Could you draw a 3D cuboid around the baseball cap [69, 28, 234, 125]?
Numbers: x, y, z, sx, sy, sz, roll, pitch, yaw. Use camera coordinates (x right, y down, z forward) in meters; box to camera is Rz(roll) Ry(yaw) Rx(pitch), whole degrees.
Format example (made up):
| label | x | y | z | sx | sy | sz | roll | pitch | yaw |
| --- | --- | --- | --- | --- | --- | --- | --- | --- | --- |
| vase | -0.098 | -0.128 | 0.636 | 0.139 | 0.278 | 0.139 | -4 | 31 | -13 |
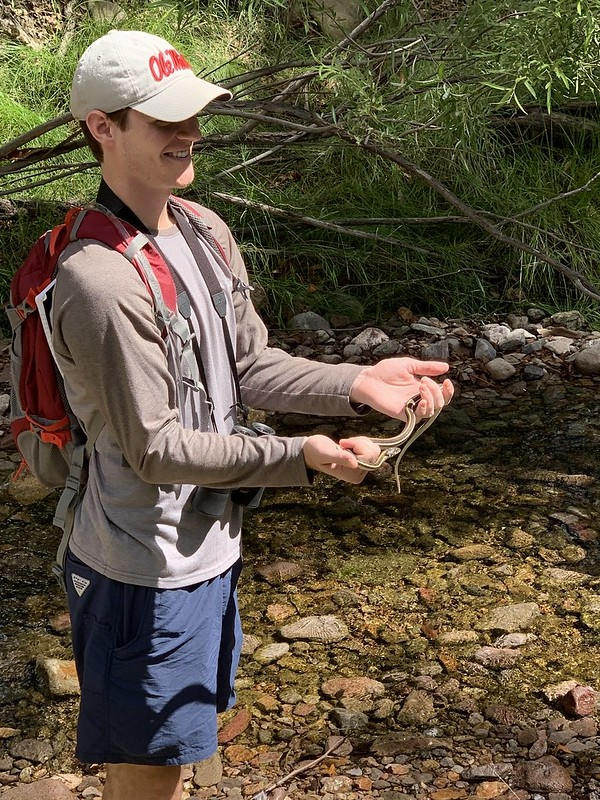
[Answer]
| label | x | y | z | sx | sy | sz | roll | pitch | yaw |
| --- | --- | --- | --- | --- | --- | --- | --- | --- | --- |
| baseball cap | -0.265 | -0.543 | 1.319 | 0.268 | 0.114 | 0.161 | 1 | 26 | 21 |
